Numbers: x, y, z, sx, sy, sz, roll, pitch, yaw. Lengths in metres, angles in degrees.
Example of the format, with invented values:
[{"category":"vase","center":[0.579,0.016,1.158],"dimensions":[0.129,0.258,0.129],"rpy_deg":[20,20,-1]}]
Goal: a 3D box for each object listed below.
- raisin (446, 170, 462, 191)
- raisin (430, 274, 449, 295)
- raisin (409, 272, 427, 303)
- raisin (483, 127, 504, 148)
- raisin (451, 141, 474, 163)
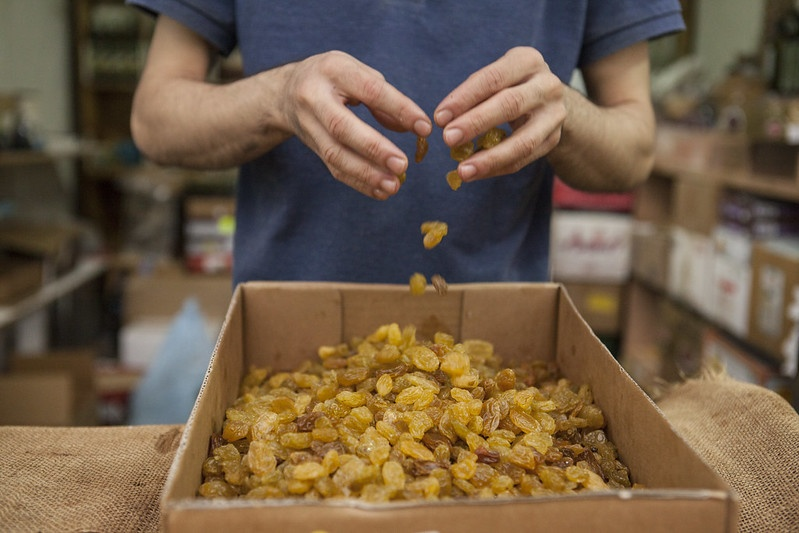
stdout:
[{"category":"raisin","center":[0.159,-0.256,2.079],"dimensions":[0.054,0.070,0.016],"rpy_deg":[3,12,2]},{"category":"raisin","center":[0.116,0.057,2.109],"dimensions":[0.019,0.059,0.039],"rpy_deg":[-12,18,48]},{"category":"raisin","center":[0.053,0.061,2.098],"dimensions":[0.045,0.065,0.062],"rpy_deg":[-3,33,1]},{"category":"raisin","center":[0.259,-0.356,1.974],"dimensions":[0.066,0.055,0.035],"rpy_deg":[1,12,3]},{"category":"raisin","center":[0.175,-0.318,1.967],"dimensions":[0.061,0.053,0.043],"rpy_deg":[1,12,4]}]
